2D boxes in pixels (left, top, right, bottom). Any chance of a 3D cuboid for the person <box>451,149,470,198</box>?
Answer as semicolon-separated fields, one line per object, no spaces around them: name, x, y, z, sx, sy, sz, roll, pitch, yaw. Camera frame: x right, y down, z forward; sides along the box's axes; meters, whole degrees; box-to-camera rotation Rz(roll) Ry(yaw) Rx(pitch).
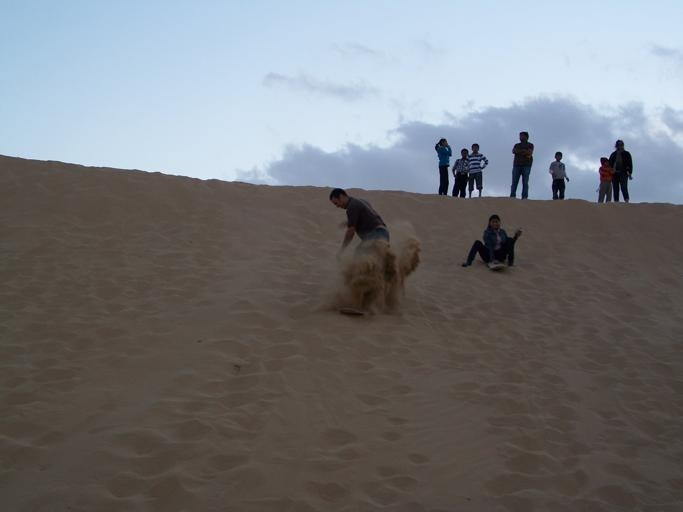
person;2.706;-1.808;20.294;0.422;1.215;0.333;6;24;7

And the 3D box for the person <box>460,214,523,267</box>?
person;2.798;-0.249;16.699;1.035;1.083;0.799;-2;-11;7

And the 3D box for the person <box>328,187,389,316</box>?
person;0.379;-0.117;14.083;0.914;1.800;1.013;-2;22;1

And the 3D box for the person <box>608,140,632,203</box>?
person;6.013;-1.718;19.477;0.455;1.354;1.065;4;23;16
